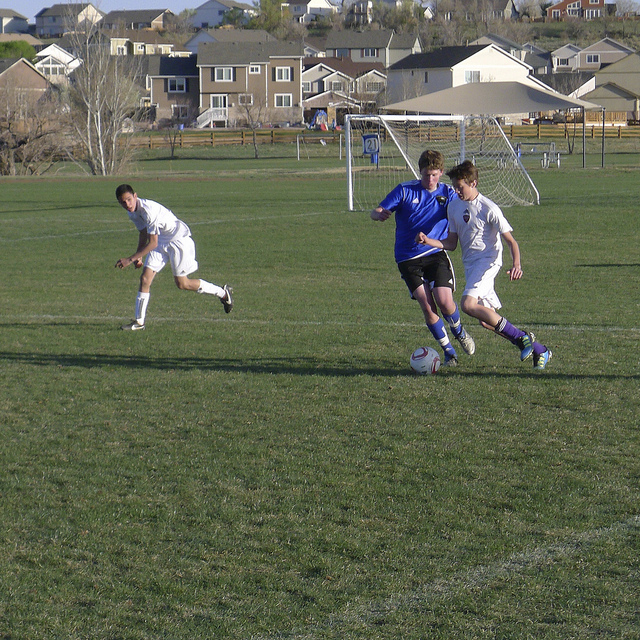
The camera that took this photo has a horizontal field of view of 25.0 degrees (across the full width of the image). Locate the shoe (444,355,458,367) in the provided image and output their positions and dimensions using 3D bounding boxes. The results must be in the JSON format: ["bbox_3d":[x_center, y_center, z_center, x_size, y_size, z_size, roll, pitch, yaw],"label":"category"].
[{"bbox_3d":[1.199,0.390,13.286,0.085,0.131,0.259,0,1,5],"label":"shoe"}]

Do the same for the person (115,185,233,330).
[{"bbox_3d":[-1.587,-0.678,14.680,0.581,1.588,1.377,7,17,27],"label":"person"}]

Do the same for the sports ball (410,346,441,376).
[{"bbox_3d":[0.945,0.378,12.998,0.215,0.260,0.228,-15,8,2],"label":"sports ball"}]

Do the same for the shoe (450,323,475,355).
[{"bbox_3d":[1.339,0.205,13.681,0.083,0.259,0.107,-34,-1,27],"label":"shoe"}]

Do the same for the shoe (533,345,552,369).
[{"bbox_3d":[1.999,0.339,12.995,0.086,0.136,0.283,-1,25,25],"label":"shoe"}]

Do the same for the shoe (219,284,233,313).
[{"bbox_3d":[-0.979,-0.233,15.423,0.142,0.333,0.106,-19,26,-32],"label":"shoe"}]

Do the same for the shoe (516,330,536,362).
[{"bbox_3d":[1.836,0.241,12.914,0.124,0.334,0.106,6,-5,-12],"label":"shoe"}]

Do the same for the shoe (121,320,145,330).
[{"bbox_3d":[-1.904,0.062,14.786,0.228,0.121,0.091,2,2,4],"label":"shoe"}]
